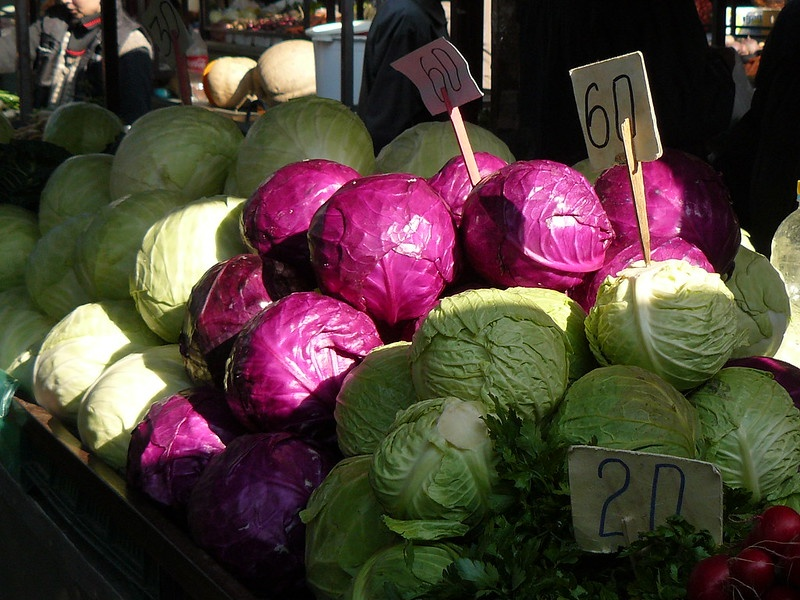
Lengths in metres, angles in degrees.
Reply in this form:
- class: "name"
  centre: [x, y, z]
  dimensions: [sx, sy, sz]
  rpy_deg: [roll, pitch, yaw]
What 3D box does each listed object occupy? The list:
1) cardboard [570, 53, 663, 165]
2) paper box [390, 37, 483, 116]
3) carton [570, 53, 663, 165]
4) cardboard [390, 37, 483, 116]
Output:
- class: "cardboard"
  centre: [0.553, -0.477, 1.815]
  dimensions: [0.108, 0.307, 0.289]
  rpy_deg: [-9, 20, -21]
- class: "paper box"
  centre: [0.133, -0.709, 2.234]
  dimensions: [0.231, 0.254, 0.067]
  rpy_deg: [-19, 17, 45]
- class: "carton"
  centre: [0.553, -0.477, 1.815]
  dimensions: [0.108, 0.307, 0.289]
  rpy_deg: [-9, 20, -21]
- class: "cardboard"
  centre: [0.119, -0.715, 2.242]
  dimensions: [0.231, 0.254, 0.067]
  rpy_deg: [-19, 17, 45]
